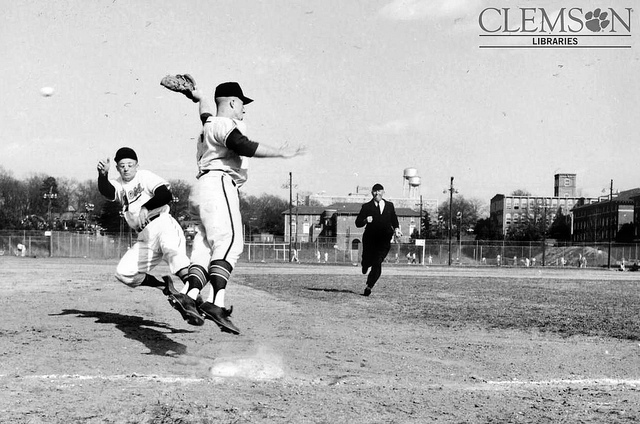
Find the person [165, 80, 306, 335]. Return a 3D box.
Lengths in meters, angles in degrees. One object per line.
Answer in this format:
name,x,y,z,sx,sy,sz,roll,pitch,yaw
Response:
person,-1.229,-0.049,9.420,1.016,2.554,1.443,4,-2,-11

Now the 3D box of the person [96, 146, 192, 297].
person,-2.330,0.274,10.585,1.357,2.254,0.975,2,-26,-32

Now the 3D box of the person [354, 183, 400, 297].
person,1.074,0.529,14.991,0.800,1.519,0.602,4,-2,2
